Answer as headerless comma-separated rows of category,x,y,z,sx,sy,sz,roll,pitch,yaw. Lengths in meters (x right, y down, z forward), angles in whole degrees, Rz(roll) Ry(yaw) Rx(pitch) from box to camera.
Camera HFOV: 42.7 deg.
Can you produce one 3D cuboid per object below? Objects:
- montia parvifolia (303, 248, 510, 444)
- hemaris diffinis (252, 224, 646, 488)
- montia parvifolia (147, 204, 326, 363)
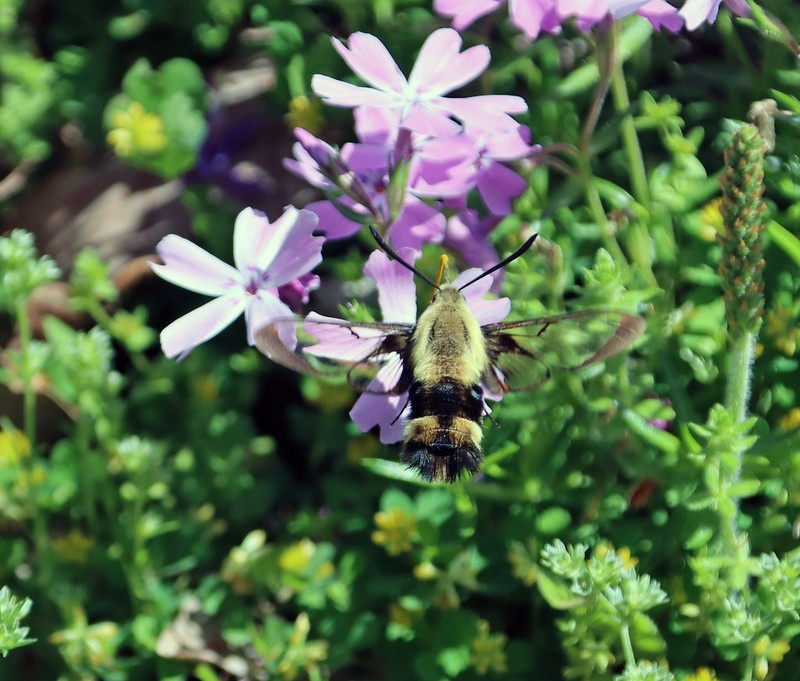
montia parvifolia,-0.023,-0.033,2.745,0.596,0.611,0.387,-12,28,-23
hemaris diffinis,0.105,0.024,2.642,0.862,0.303,0.811,-9,38,-12
montia parvifolia,-0.403,-0.177,2.669,0.395,0.467,0.359,14,26,38
